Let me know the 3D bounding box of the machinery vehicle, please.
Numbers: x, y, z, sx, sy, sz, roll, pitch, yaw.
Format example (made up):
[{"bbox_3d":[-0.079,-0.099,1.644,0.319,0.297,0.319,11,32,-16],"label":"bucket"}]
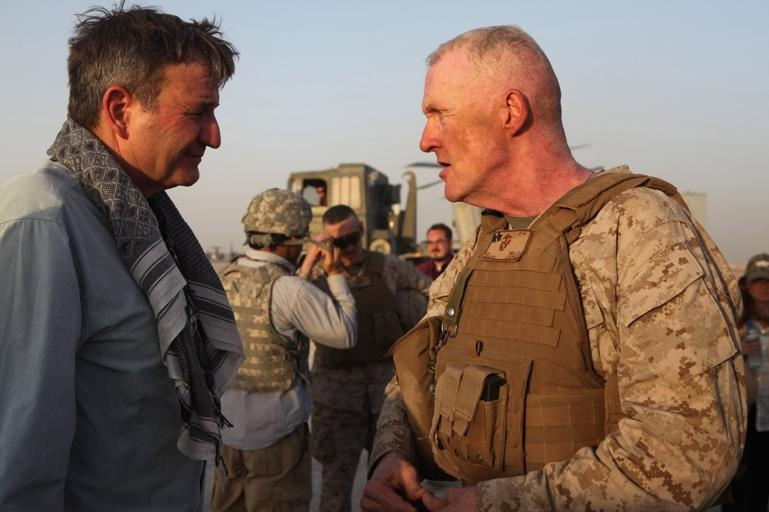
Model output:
[{"bbox_3d":[-0.002,-0.630,18.801,1.615,1.969,2.498,-1,-1,-45],"label":"machinery vehicle"}]
